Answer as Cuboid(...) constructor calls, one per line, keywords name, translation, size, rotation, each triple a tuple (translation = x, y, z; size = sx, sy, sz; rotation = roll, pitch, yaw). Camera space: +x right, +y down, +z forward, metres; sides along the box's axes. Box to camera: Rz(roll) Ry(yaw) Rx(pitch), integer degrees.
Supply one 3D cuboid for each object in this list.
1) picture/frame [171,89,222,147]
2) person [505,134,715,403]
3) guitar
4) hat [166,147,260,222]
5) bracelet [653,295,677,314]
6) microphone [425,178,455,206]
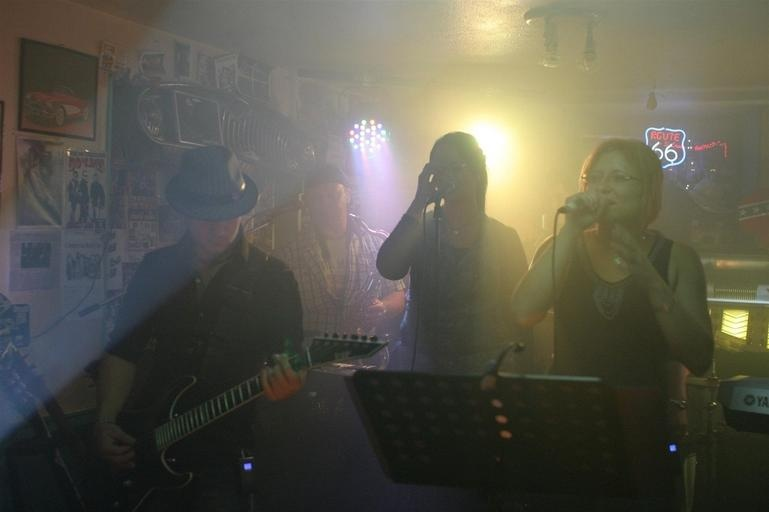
Cuboid(name="picture/frame", translation=(-1.407, -1.034, 5.574), size=(0.426, 0.402, 0.012), rotation=(7, 16, 23))
Cuboid(name="person", translation=(1.299, 0.031, 4.107), size=(1.077, 1.364, 0.317), rotation=(4, 7, 9))
Cuboid(name="guitar", translation=(-1.125, 0.985, 4.482), size=(1.781, 1.207, 0.467), rotation=(5, 7, 14))
Cuboid(name="hat", translation=(-1.112, -0.455, 4.728), size=(0.539, 0.266, 0.528), rotation=(26, 44, 24))
Cuboid(name="bracelet", translation=(1.531, 0.261, 3.982), size=(0.113, 0.100, 0.031), rotation=(-3, -4, 23))
Cuboid(name="microphone", translation=(0.343, -0.380, 4.370), size=(0.164, 0.146, 0.049), rotation=(3, 7, -4))
